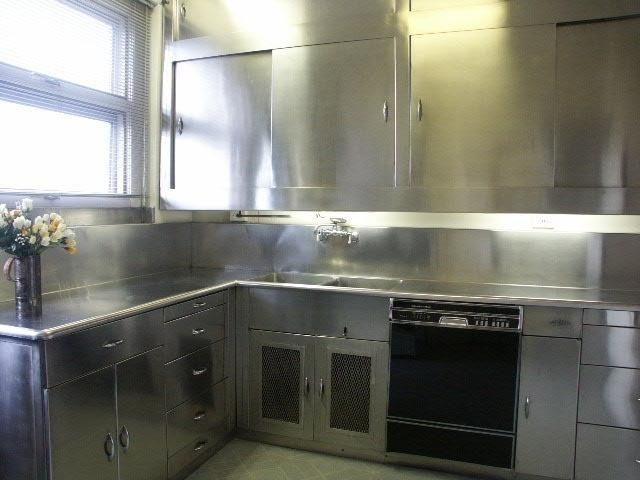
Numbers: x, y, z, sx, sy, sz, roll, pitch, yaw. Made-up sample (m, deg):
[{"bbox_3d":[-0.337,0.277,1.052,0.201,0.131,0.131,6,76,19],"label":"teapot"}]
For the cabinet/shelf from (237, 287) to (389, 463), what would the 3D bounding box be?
[{"bbox_3d":[-0.007,0.830,3.206,1.177,1.039,0.439,1,3,17],"label":"cabinet/shelf"}]

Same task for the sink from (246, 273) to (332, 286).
[{"bbox_3d":[-0.182,0.275,3.656,0.582,0.074,0.307,0,4,-7],"label":"sink"}]

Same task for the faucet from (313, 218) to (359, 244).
[{"bbox_3d":[0.110,-0.061,3.583,0.317,0.184,0.286,0,4,-1],"label":"faucet"}]
